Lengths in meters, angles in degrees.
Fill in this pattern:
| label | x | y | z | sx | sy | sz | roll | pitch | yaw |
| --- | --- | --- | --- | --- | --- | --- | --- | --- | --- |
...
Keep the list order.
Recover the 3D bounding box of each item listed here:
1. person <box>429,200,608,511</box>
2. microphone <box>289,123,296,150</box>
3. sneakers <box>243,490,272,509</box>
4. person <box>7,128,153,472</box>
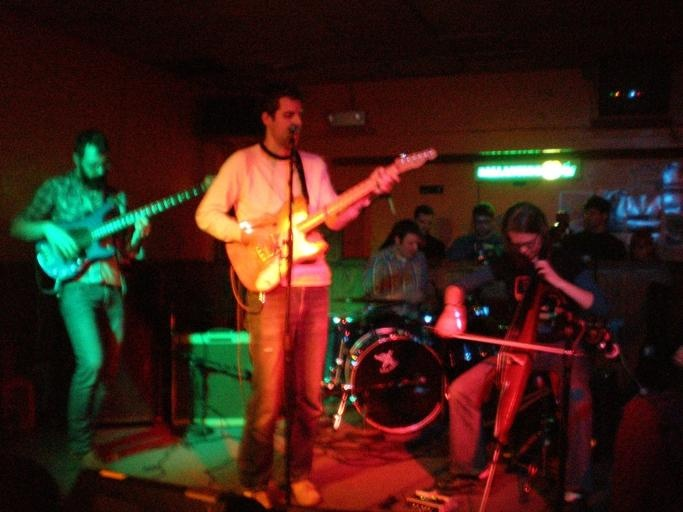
| label | x | y | z | sx | sy | sz | roll | pitch | yaw |
| --- | --- | --- | --- | --- | --- | --- | --- | --- | --- |
| person | 0.934 | 0.487 | 3.267 | 0.858 | 1.531 | 0.368 | 2 | 6 | 8 |
| microphone | -0.244 | -0.591 | 3.028 | 0.029 | 0.130 | 0.038 | 3 | -19 | -20 |
| sneakers | -0.417 | 1.194 | 3.002 | 0.122 | 0.056 | 0.043 | 15 | -24 | 32 |
| person | -1.478 | 0.219 | 3.549 | 0.614 | 1.871 | 0.467 | 4 | 6 | 26 |
